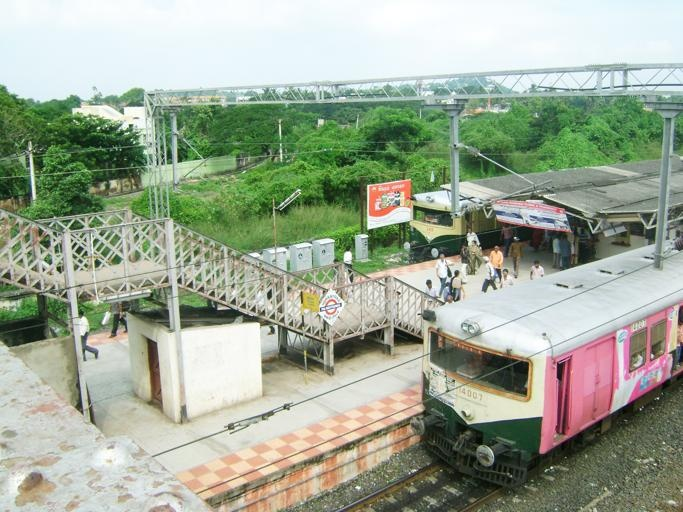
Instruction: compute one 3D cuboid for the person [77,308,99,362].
[{"bbox_3d":[-6.911,2.193,18.384,0.474,1.339,1.593,-1,10,-20],"label":"person"}]
